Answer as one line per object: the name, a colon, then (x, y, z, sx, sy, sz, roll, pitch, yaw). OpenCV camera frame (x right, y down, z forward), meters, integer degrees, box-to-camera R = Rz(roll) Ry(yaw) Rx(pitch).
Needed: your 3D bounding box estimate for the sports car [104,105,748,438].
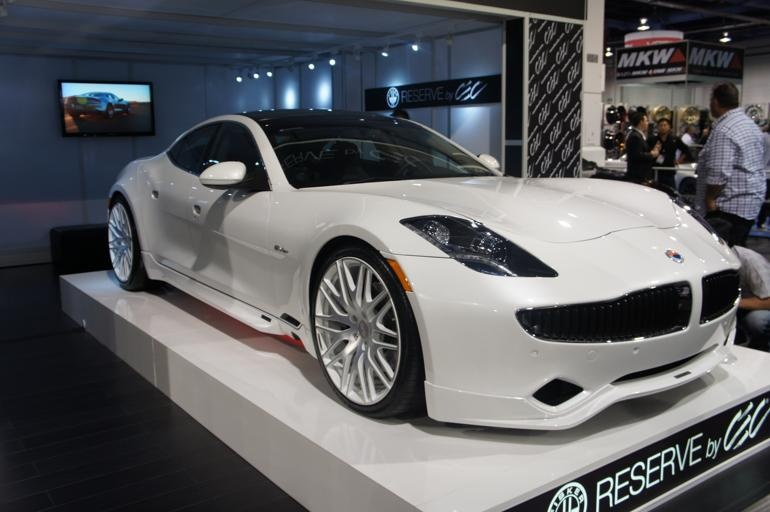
sports car: (-0.115, -0.005, 2.823, 3.195, 1.029, 1.584, 12, 11, 42)
